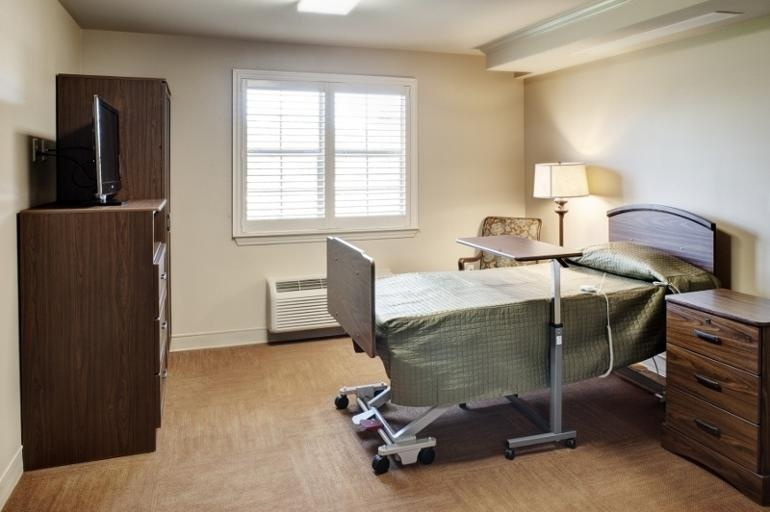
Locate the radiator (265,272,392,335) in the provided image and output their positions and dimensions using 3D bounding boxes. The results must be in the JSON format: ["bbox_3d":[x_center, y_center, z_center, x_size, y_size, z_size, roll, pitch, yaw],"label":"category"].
[{"bbox_3d":[-0.502,0.393,4.616,0.720,0.423,0.218,-2,2,-19],"label":"radiator"}]

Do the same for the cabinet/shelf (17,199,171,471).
[{"bbox_3d":[-1.936,0.551,3.633,0.904,1.601,1.725,-2,5,-19],"label":"cabinet/shelf"}]

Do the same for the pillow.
[{"bbox_3d":[1.976,0.070,4.226,0.817,0.205,0.523,11,17,33],"label":"pillow"}]

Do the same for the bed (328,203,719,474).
[{"bbox_3d":[1.022,0.483,4.510,2.769,1.482,1.579,-5,10,-14],"label":"bed"}]

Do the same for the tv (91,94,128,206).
[{"bbox_3d":[-1.970,-0.736,3.949,0.210,0.712,0.805,-8,12,-24],"label":"tv"}]

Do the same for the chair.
[{"bbox_3d":[1.312,-0.098,6.061,0.645,0.985,0.729,0,-3,27],"label":"chair"}]

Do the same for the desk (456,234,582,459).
[{"bbox_3d":[0.916,0.656,4.554,0.605,1.417,1.651,-1,-1,-10],"label":"desk"}]
